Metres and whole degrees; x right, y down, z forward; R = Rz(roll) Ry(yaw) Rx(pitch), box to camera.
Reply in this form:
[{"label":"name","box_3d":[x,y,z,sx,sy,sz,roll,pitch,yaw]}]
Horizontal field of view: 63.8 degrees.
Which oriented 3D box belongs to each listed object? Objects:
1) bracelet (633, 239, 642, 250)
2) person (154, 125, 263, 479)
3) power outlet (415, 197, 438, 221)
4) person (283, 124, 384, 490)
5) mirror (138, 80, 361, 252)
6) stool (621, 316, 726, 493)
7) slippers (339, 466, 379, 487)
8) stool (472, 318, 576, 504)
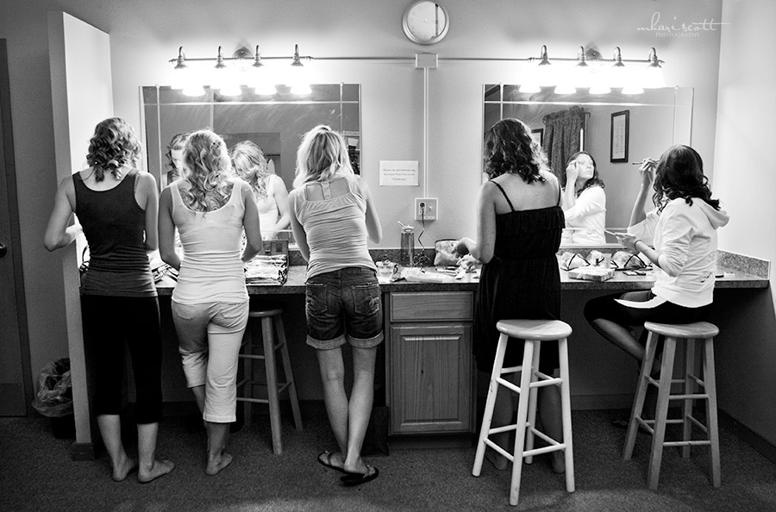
[{"label":"bracelet","box_3d":[1.680,-0.077,4.249,0.040,0.061,0.058,8,5,-1]},{"label":"person","box_3d":[-1.115,0.314,4.053,0.630,2.205,0.332,-4,11,-15]},{"label":"power outlet","box_3d":[0.289,-0.365,4.753,0.165,0.163,0.085,0,3,-2]},{"label":"person","box_3d":[-0.311,0.305,4.069,0.586,2.244,0.613,-3,11,-8]},{"label":"mirror","box_3d":[-0.960,-0.666,4.290,1.249,0.873,0.020,-1,7,-4]},{"label":"stool","box_3d":[1.977,0.897,4.280,0.601,0.999,1.086,5,13,28]},{"label":"slippers","box_3d":[-0.178,1.417,4.035,0.205,0.068,0.109,-6,6,-40]},{"label":"stool","box_3d":[0.894,0.946,4.001,0.707,1.066,0.505,-5,12,-18]}]
